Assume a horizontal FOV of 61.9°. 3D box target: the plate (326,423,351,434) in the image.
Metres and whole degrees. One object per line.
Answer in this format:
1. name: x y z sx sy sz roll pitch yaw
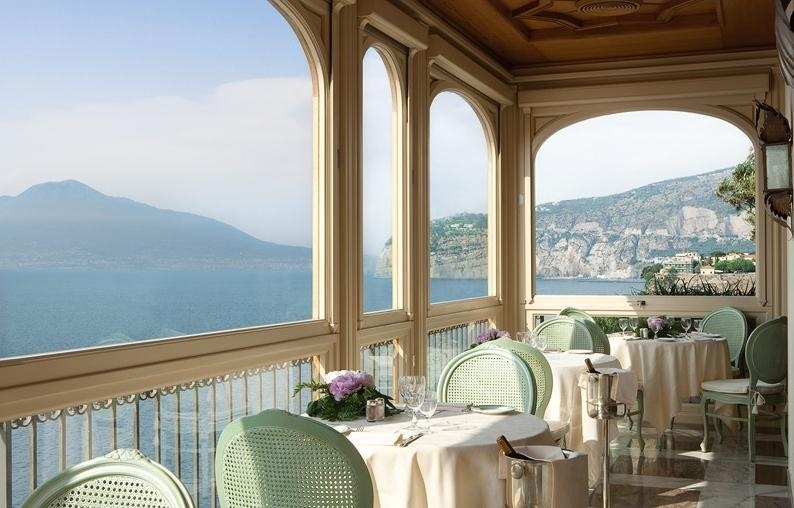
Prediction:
1. plate: -0.348 1.094 4.167 0.114 0.028 0.115 -1 0 -44

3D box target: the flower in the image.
1. flower: -0.294 0.922 4.429 0.525 0.200 0.449 17 -7 -29
